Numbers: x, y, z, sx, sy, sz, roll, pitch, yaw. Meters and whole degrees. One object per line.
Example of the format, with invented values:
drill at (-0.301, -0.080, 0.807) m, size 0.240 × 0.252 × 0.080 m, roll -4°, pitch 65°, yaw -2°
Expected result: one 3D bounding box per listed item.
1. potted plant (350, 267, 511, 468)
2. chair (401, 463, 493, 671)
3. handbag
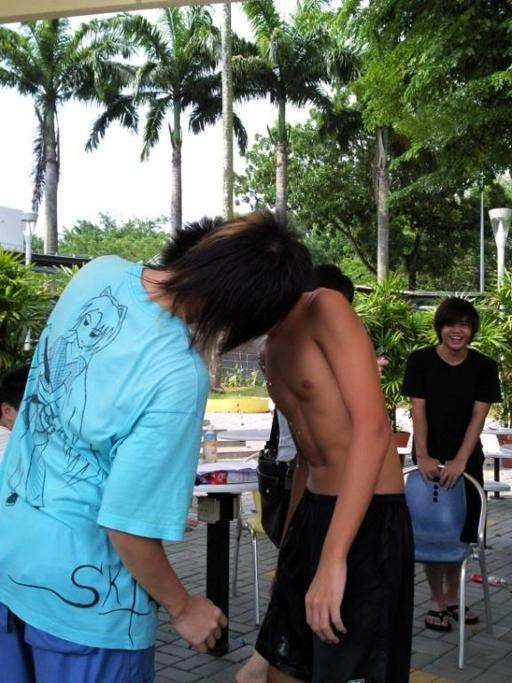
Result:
potted plant at (3.133, 0.183, 10.330) m, size 3.023 × 2.193 × 2.810 m, roll 1°, pitch 8°, yaw -1°
chair at (0.850, 1.039, 3.137) m, size 0.547 × 0.797 × 0.522 m, roll -1°, pitch 0°, yaw 23°
handbag at (0.118, 0.587, 2.392) m, size 0.205 × 0.310 × 0.237 m, roll 1°, pitch 11°, yaw -5°
